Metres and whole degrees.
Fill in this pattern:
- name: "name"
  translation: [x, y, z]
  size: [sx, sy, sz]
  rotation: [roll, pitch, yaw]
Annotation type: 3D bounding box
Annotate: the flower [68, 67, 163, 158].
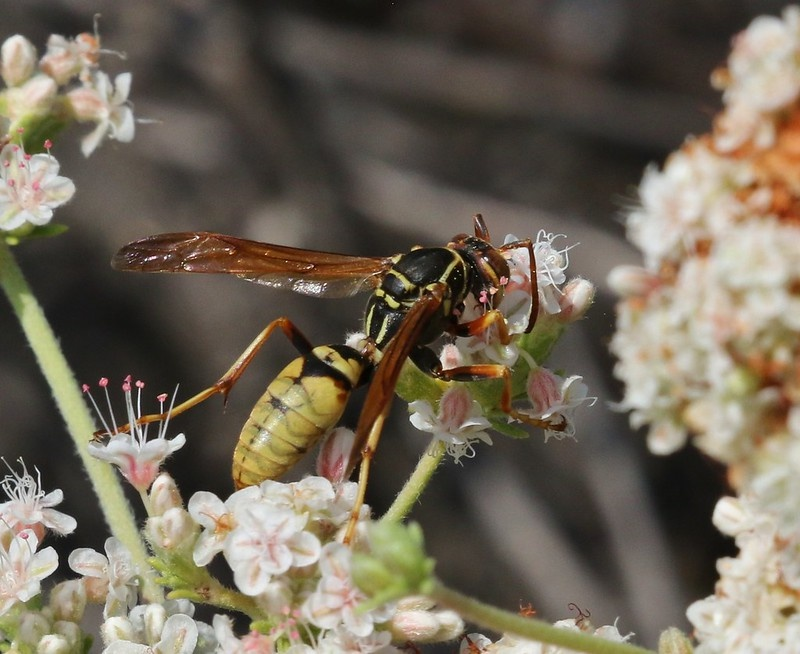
- name: "flower"
  translation: [-0.704, -0.534, 2.876]
  size: [0.077, 0.204, 0.229]
  rotation: [37, -20, -35]
